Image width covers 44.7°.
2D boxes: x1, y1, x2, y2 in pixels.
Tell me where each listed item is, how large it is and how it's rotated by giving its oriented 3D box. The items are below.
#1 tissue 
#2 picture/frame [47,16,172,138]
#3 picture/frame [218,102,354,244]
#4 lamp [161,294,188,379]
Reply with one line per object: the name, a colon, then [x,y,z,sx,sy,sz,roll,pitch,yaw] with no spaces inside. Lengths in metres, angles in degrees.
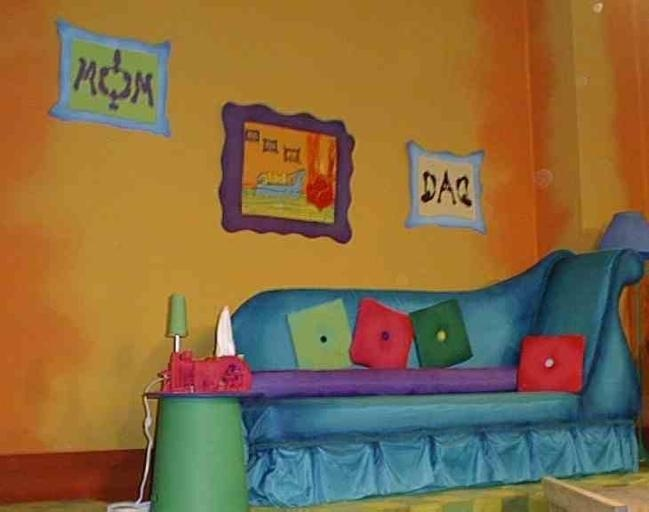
tissue : [-0.482,0.449,3.791,0.186,0.381,0.199,-2,-4,33]
picture/frame: [-1.341,-1.073,4.792,0.656,0.688,0.075,4,-6,-22]
picture/frame: [-0.284,-0.515,5.066,0.783,0.819,0.040,5,-8,-23]
lamp: [-0.733,0.391,3.925,0.090,0.389,0.088,5,-6,-38]
